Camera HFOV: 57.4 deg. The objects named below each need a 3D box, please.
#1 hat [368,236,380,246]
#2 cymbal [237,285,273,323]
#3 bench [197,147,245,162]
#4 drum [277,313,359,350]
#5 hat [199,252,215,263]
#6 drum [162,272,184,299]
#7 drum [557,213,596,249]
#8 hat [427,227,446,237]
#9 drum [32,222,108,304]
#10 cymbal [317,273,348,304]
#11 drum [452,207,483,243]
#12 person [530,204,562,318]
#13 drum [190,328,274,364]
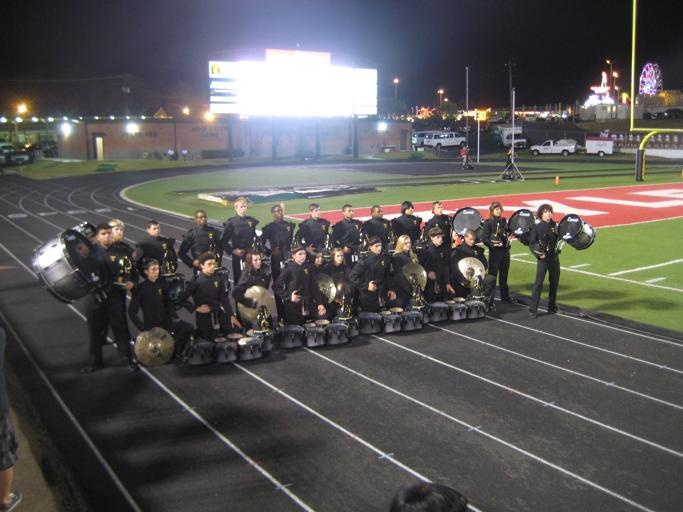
[{"bbox_3d":[0.846,-0.372,15.715,0.240,0.220,0.485,-1,15,-2],"label":"hat"},{"bbox_3d":[-1.965,1.090,14.016,0.817,0.823,0.363,2,14,11],"label":"cymbal"},{"bbox_3d":[-16.143,-13.919,84.866,6.931,1.400,2.799,-15,21,-41],"label":"bench"},{"bbox_3d":[-0.533,1.770,14.348,1.936,0.457,0.594,-4,15,-12],"label":"drum"},{"bbox_3d":[-2.949,0.005,13.701,0.287,0.298,0.235,-3,4,-17],"label":"hat"},{"bbox_3d":[-3.791,0.676,14.171,0.437,0.609,1.191,-4,16,-14],"label":"drum"},{"bbox_3d":[5.985,-0.525,15.553,0.911,0.890,0.814,26,-12,-36],"label":"drum"},{"bbox_3d":[2.501,-0.574,16.292,0.269,0.302,0.344,0,14,-6],"label":"hat"},{"bbox_3d":[-5.079,0.023,11.693,0.937,1.424,1.262,-19,-12,13],"label":"drum"},{"bbox_3d":[-0.168,0.757,15.117,0.554,0.710,0.826,10,18,37],"label":"cymbal"},{"bbox_3d":[3.458,-0.910,17.171,0.760,0.858,0.866,-1,3,21],"label":"drum"},{"bbox_3d":[5.264,0.094,16.029,0.769,2.805,1.448,5,15,23],"label":"person"},{"bbox_3d":[-2.399,1.997,13.502,1.927,0.469,0.581,-6,16,-18],"label":"drum"}]
